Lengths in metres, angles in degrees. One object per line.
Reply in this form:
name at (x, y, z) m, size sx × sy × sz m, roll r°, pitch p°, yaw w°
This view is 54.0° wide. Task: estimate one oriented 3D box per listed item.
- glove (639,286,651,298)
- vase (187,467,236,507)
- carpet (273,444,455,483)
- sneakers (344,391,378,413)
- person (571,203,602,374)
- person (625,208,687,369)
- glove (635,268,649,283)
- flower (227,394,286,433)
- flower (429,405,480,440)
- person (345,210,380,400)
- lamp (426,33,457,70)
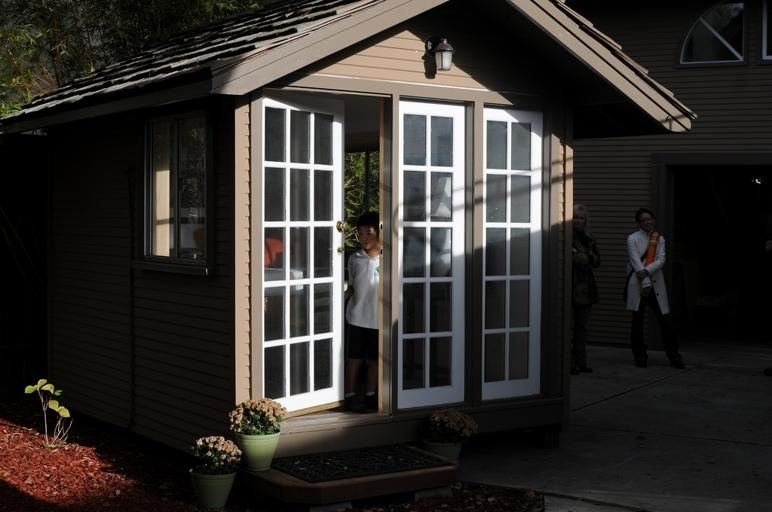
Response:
glove at (3.869, 0.553, 11.276) m, size 0.155 × 0.165 × 0.096 m, roll -2°, pitch 0°, yaw 12°
vase at (-1.547, 2.023, 6.700) m, size 0.337 × 0.253 × 0.343 m, roll 2°, pitch -1°, yaw 26°
carpet at (-0.246, 1.875, 6.842) m, size 1.540 × 0.110 × 0.613 m, roll -2°, pitch 1°, yaw -22°
sneakers at (-0.252, 1.462, 7.505) m, size 0.136 × 0.153 × 0.389 m, roll 1°, pitch -4°, yaw -34°
person at (2.851, 0.503, 10.866) m, size 0.418 × 2.444 × 0.630 m, roll -2°, pitch 0°, yaw 12°
person at (3.979, 0.492, 11.345) m, size 0.742 × 2.487 × 0.458 m, roll -2°, pitch 0°, yaw 16°
glove at (3.824, 0.304, 11.235) m, size 0.181 × 0.210 × 0.136 m, roll -2°, pitch 0°, yaw 18°
flower at (-1.164, 1.410, 6.699) m, size 0.348 × 0.224 × 0.348 m, roll 0°, pitch 5°, yaw -9°
flower at (0.644, 1.661, 7.420) m, size 0.488 × 0.276 × 0.491 m, roll 19°, pitch -7°, yaw -41°
person at (-0.289, 0.523, 7.722) m, size 0.379 × 1.899 × 0.620 m, roll -2°, pitch 0°, yaw 22°
lamp at (0.550, -1.995, 7.417) m, size 0.301 × 0.343 × 0.240 m, roll -2°, pitch 0°, yaw -13°
